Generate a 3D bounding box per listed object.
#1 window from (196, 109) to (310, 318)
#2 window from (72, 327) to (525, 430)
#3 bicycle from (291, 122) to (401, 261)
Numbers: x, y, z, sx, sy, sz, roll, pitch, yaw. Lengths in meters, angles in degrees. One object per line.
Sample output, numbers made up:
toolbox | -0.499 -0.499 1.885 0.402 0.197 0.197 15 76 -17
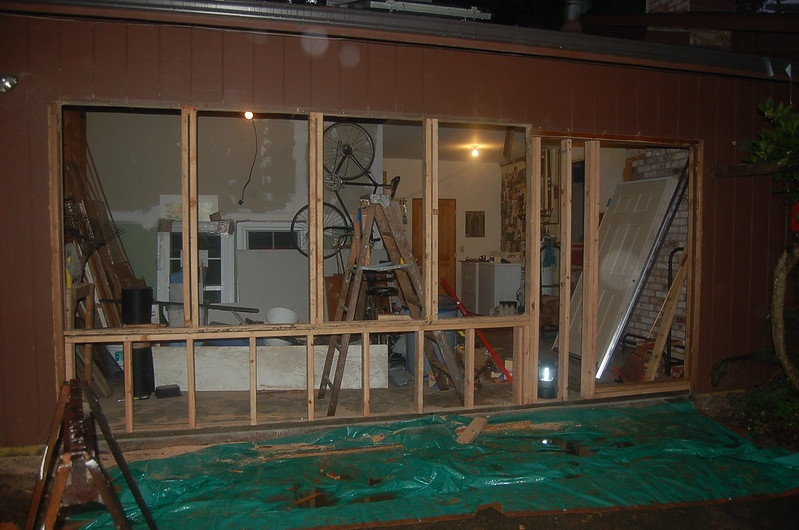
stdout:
window | -2.561 -0.625 11.449 2.001 3.900 0.171 -4 32 -31
window | -1.402 1.202 7.507 5.436 1.147 0.176 -4 8 20
bicycle | -1.054 -1.483 12.072 1.692 2.883 1.158 6 -5 -7
